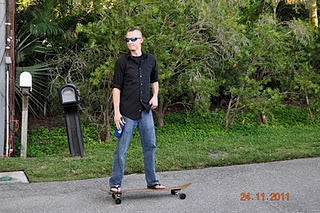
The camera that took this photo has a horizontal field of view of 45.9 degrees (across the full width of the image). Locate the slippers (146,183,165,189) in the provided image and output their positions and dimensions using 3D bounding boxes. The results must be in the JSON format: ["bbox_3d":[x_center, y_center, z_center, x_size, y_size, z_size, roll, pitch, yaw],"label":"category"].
[{"bbox_3d":[-0.072,1.669,7.883,0.329,0.131,0.131,-2,0,7],"label":"slippers"}]

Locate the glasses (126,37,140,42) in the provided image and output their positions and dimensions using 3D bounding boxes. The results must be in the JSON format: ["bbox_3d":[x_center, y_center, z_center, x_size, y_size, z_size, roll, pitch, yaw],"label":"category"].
[{"bbox_3d":[-0.560,-1.390,7.902,0.289,0.098,0.111,1,8,4],"label":"glasses"}]

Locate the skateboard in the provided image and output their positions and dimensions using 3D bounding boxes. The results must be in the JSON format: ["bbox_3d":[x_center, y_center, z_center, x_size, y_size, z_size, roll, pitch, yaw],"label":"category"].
[{"bbox_3d":[-0.291,1.831,7.908,1.392,0.259,0.367,-1,0,-13],"label":"skateboard"}]

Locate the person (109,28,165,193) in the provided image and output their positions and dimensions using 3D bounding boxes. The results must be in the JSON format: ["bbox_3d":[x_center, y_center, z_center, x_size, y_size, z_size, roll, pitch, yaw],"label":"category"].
[{"bbox_3d":[-0.512,0.058,7.842,1.032,3.286,0.779,-1,8,-9],"label":"person"}]
